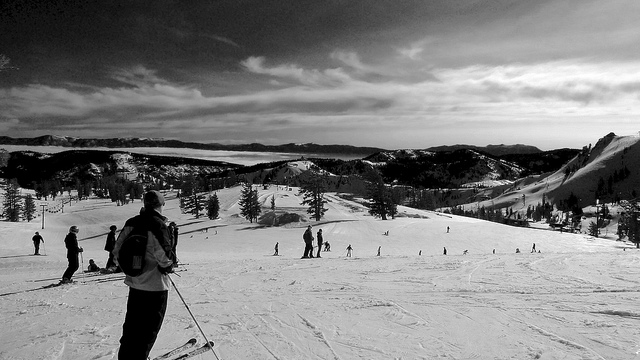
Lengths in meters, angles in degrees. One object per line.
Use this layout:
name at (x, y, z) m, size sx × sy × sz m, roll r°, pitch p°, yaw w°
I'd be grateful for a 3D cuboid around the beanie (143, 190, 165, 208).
beanie at (-6.964, 0.779, 16.569) m, size 0.782 × 0.740 × 0.565 m, roll -1°, pitch 0°, yaw -27°
